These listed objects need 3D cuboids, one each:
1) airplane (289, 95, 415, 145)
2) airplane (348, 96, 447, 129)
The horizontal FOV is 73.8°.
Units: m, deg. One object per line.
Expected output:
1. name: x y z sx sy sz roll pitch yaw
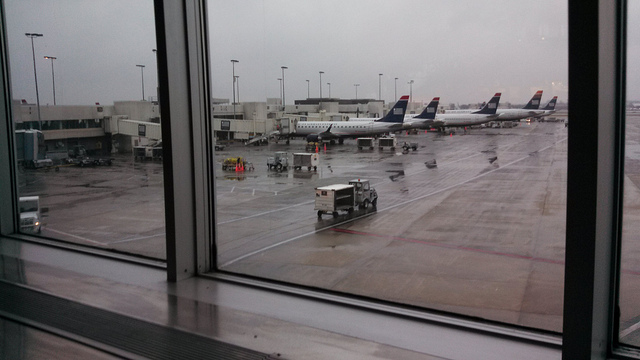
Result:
1. airplane: 3.217 -6.125 44.119 11.478 4.810 3.474 2 11 11
2. airplane: 5.872 -5.159 33.292 5.637 1.956 5.288 0 23 0
